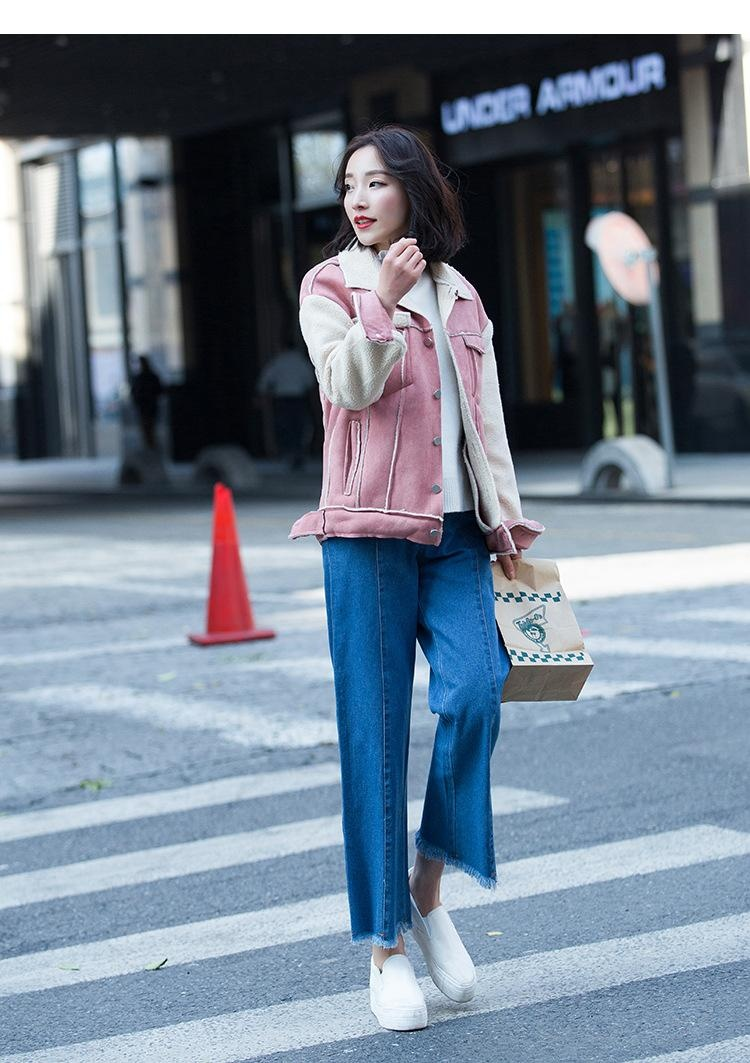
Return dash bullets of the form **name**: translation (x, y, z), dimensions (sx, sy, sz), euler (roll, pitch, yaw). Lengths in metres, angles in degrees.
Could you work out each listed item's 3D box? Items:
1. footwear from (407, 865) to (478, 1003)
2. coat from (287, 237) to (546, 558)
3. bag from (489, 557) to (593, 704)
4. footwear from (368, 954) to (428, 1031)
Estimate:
- **footwear**: translation (0.134, 0.784, 2.166), dimensions (0.082, 0.242, 0.095), euler (-12, -34, -27)
- **coat**: translation (0.120, -0.243, 2.034), dimensions (0.518, 0.599, 0.351), euler (-2, 1, -28)
- **bag**: translation (0.318, 0.177, 2.214), dimensions (0.158, 0.240, 0.088), euler (0, -27, -20)
- **footwear**: translation (0.048, 0.843, 2.024), dimensions (0.062, 0.071, 0.165), euler (-1, 9, -5)
